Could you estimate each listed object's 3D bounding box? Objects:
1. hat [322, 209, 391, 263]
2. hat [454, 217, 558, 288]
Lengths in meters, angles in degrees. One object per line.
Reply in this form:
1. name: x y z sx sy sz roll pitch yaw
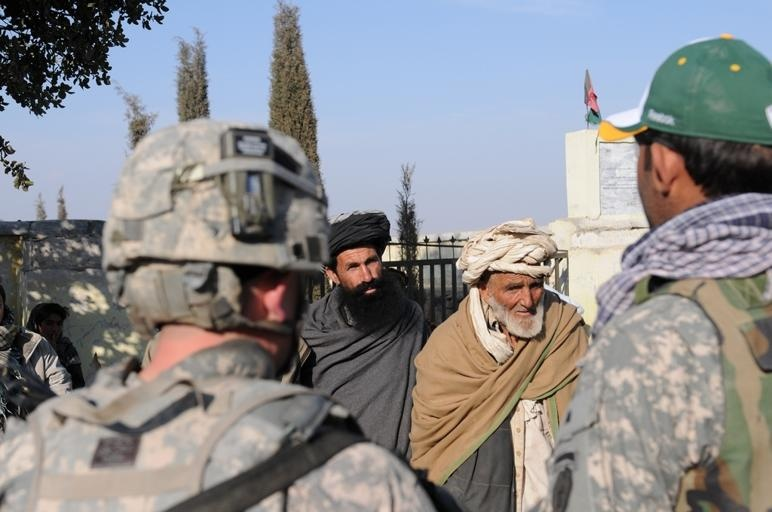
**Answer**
1. hat: -0.188 -0.169 8.489 0.463 0.279 0.533 -11 -5 6
2. hat: 0.814 -0.029 7.968 0.554 0.347 0.563 1 8 -1
